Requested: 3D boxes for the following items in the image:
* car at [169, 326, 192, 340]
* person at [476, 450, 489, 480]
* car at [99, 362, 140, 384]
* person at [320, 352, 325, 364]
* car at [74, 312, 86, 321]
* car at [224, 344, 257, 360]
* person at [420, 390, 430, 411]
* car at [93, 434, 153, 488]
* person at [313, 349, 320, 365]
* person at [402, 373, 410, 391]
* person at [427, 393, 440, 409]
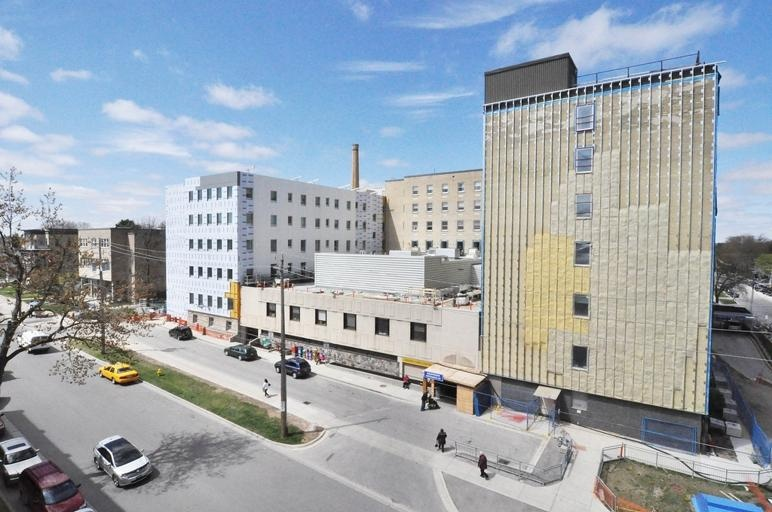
[{"bbox_3d":[-27.393,10.223,75.028,2.685,1.340,1.571,12,9,40],"label":"car"},{"bbox_3d":[8.163,17.556,46.899,1.029,2.187,0.955,0,-1,-16],"label":"person"},{"bbox_3d":[-28.456,12.381,60.079,4.491,1.757,2.005,11,9,34],"label":"car"},{"bbox_3d":[-7.244,11.926,65.431,0.615,1.247,0.495,0,0,-7],"label":"person"},{"bbox_3d":[-27.130,5.392,49.888,0.755,0.764,2.277,0,-1,-38],"label":"car"},{"bbox_3d":[-17.090,11.500,67.110,3.078,1.041,1.780,8,6,35],"label":"car"},{"bbox_3d":[3.924,14.357,55.244,0.898,1.670,1.149,0,-1,4],"label":"person"},{"bbox_3d":[-22.164,17.142,46.930,5.043,1.968,2.760,10,13,40],"label":"car"},{"bbox_3d":[-7.923,11.825,65.662,0.573,1.458,1.157,0,-1,-21],"label":"person"},{"bbox_3d":[2.219,13.332,59.354,0.804,1.361,0.656,0,-1,-15],"label":"person"},{"bbox_3d":[4.716,14.621,55.678,0.818,1.335,1.348,-9,-10,9],"label":"person"}]
